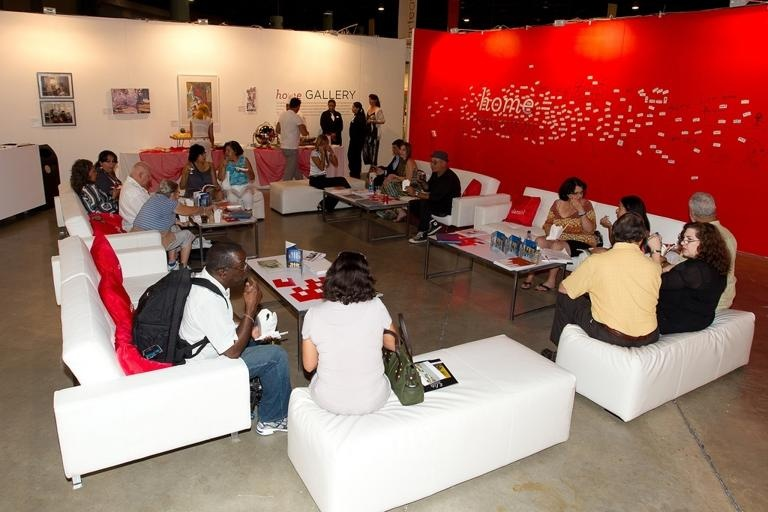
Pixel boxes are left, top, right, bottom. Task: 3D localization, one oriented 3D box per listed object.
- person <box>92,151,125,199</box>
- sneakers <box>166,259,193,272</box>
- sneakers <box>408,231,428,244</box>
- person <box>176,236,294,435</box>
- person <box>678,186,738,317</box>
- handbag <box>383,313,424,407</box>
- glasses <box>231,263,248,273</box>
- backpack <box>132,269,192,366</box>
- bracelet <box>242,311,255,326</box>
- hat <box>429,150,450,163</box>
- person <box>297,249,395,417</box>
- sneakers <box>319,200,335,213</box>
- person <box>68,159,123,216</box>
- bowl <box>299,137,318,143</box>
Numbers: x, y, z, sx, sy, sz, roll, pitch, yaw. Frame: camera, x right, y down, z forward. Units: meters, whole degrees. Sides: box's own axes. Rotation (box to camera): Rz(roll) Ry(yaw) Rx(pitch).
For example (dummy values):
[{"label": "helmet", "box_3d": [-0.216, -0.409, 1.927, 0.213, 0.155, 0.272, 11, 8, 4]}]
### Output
[{"label": "person", "box_3d": [-4.174, -1.196, 7.294, 0.408, 0.724, 0.457, 8, 22, 5]}, {"label": "sneakers", "box_3d": [-2.402, 0.104, 5.606, 0.079, 0.101, 0.217, 23, 30, 37]}, {"label": "sneakers", "box_3d": [0.576, -0.301, 8.126, 0.349, 0.144, 0.160, -7, 14, -32]}, {"label": "person", "box_3d": [-1.129, 0.658, 3.862, 0.804, 1.612, 0.547, 7, 22, 12]}, {"label": "person", "box_3d": [3.351, -0.050, 5.066, 0.581, 1.159, 0.661, -13, 19, -12]}, {"label": "handbag", "box_3d": [0.154, 0.879, 3.710, 0.219, 0.555, 0.645, -7, -11, -6]}, {"label": "glasses", "box_3d": [-1.110, 0.092, 3.676, 0.091, 0.027, 0.088, -2, 10, -1]}, {"label": "backpack", "box_3d": [-1.698, 0.502, 3.702, 0.359, 0.676, 0.501, 7, 17, -32]}, {"label": "bracelet", "box_3d": [-1.066, 0.478, 3.774, 0.087, 0.052, 0.105, 2, 46, -46]}, {"label": "hat", "box_3d": [0.936, -1.684, 8.142, 0.235, 0.091, 0.197, 24, 18, 36]}, {"label": "person", "box_3d": [-0.244, 0.542, 3.379, 0.554, 1.089, 0.427, 15, 25, 30]}, {"label": "sneakers", "box_3d": [-1.113, -0.971, 9.419, 0.288, 0.103, 0.378, 0, -7, 0]}, {"label": "person", "box_3d": [-4.082, -1.003, 6.842, 0.546, 0.873, 0.503, 28, 42, 20]}, {"label": "bowl", "box_3d": [-1.801, -2.728, 11.494, 0.345, 0.094, 0.263, -10, 18, -35]}]
